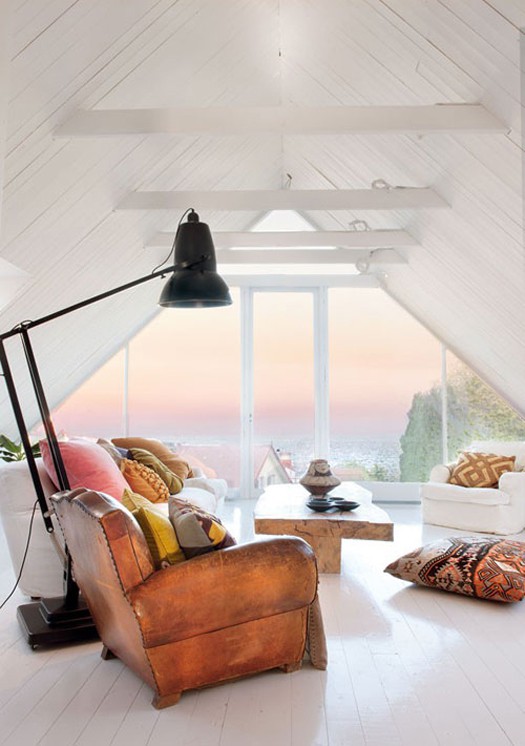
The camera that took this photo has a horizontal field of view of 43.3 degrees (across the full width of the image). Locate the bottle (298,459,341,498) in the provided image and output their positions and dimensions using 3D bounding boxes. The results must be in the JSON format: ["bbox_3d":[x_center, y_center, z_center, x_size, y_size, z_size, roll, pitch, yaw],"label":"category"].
[{"bbox_3d":[0.336,0.606,3.810,0.204,0.159,0.215,1,-4,0],"label":"bottle"}]

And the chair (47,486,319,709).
[{"bbox_3d":[-0.295,0.746,2.429,0.899,0.607,0.913,-3,-5,38],"label":"chair"}]
